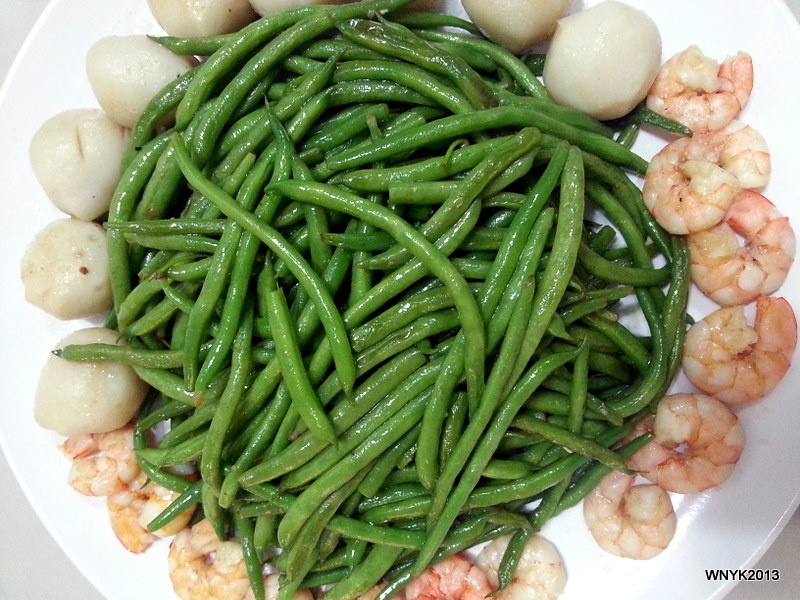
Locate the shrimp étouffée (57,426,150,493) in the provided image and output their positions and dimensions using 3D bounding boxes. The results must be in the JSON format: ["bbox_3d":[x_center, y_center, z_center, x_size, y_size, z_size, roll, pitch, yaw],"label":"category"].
[{"bbox_3d":[-0.998,0.542,2.674,0.237,0.094,0.243,-18,94,3],"label":"shrimp étouffée"}]

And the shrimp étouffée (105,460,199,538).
[{"bbox_3d":[-0.870,0.698,2.729,0.251,0.120,0.284,42,97,10],"label":"shrimp étouffée"}]

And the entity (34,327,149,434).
[{"bbox_3d":[-1.006,0.297,2.678,0.330,0.194,0.347,13,82,2],"label":"entity"}]

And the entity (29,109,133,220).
[{"bbox_3d":[-1.054,-0.425,2.638,0.300,0.193,0.352,1,95,-2],"label":"entity"}]
